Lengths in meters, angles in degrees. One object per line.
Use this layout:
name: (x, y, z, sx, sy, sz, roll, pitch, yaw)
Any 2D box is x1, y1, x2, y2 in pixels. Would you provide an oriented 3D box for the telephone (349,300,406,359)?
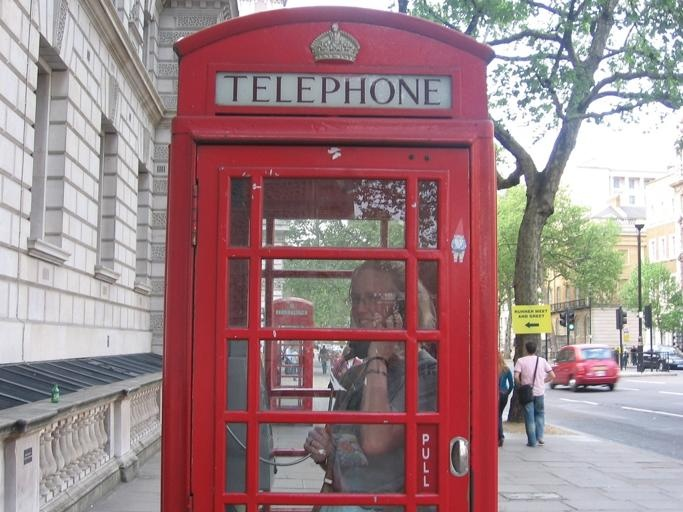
telephone: (0.273, 0.516, 5.418, 0.279, 0.459, 0.170, 2, 0, 8)

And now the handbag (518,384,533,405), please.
handbag: (3.563, 2.663, 14.988, 0.287, 0.353, 0.182, -5, -13, 24)

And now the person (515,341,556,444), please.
person: (3.763, 2.678, 15.256, 0.736, 1.955, 1.028, 2, -3, 14)
